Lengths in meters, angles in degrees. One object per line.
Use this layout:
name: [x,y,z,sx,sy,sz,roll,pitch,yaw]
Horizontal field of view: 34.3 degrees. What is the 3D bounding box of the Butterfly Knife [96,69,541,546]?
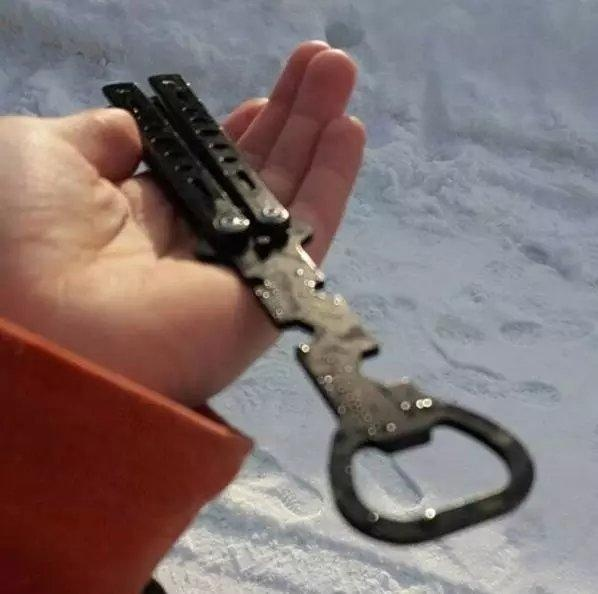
Butterfly Knife: [-0.030,-0.031,1.401,0.306,0.119,0.883,-20,52,-24]
